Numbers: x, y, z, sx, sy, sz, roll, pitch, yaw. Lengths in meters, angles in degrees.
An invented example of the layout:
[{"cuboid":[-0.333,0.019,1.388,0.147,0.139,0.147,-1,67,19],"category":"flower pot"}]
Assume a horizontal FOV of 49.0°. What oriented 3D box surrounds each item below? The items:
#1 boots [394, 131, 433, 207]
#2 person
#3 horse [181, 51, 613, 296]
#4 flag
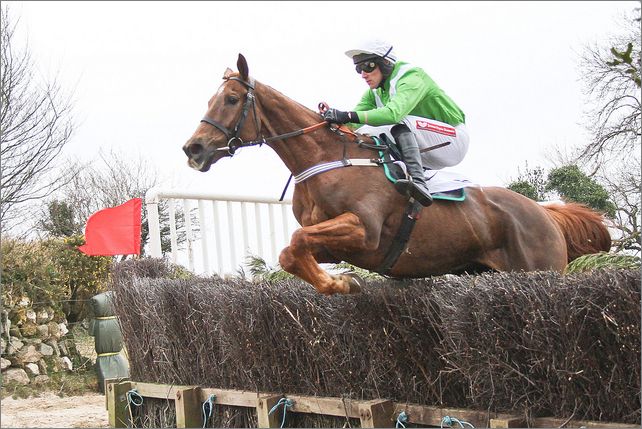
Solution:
[{"cuboid":[0.825,-0.409,6.403,0.323,0.655,0.165,16,-55,-13],"category":"boots"},{"cuboid":[0.693,-0.850,6.776,1.428,1.635,0.820,6,-16,-14],"category":"person"},{"cuboid":[0.952,0.167,6.884,4.631,2.622,1.047,9,-10,-18],"category":"horse"},{"cuboid":[-2.871,0.197,9.793,0.904,0.799,0.413,-8,-8,20],"category":"flag"}]
